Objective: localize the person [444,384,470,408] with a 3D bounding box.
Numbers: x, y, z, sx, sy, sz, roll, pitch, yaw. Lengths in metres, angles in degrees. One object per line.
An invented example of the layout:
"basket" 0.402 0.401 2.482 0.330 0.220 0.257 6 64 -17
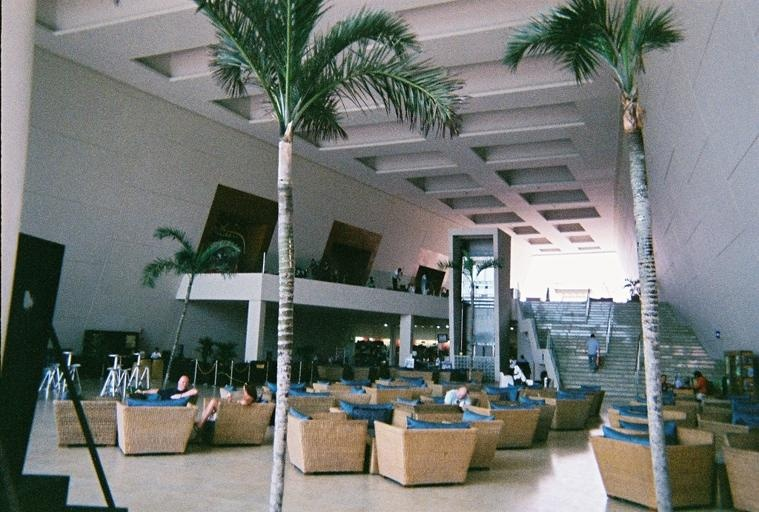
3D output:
"person" 1.668 3.010 11.330 0.539 0.441 1.339 8 -18 -8

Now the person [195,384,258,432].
"person" -2.903 2.883 10.262 0.939 1.298 0.939 8 -12 -2

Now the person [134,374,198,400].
"person" -4.249 2.732 10.506 0.984 0.455 0.972 0 -10 -20
